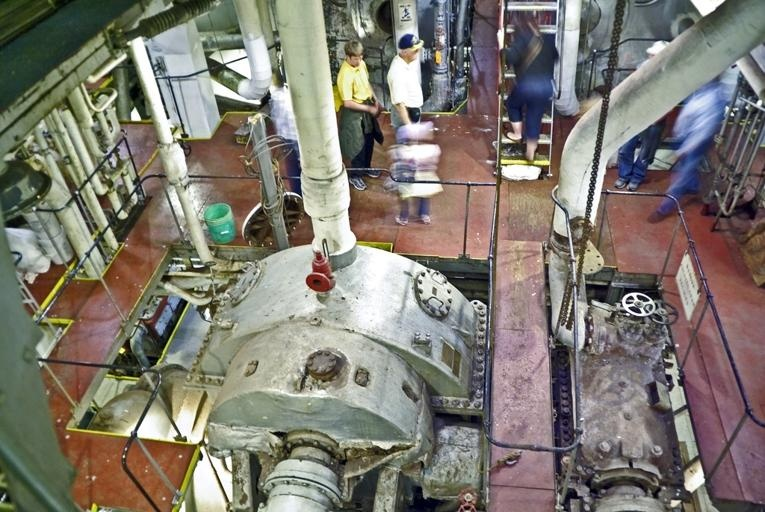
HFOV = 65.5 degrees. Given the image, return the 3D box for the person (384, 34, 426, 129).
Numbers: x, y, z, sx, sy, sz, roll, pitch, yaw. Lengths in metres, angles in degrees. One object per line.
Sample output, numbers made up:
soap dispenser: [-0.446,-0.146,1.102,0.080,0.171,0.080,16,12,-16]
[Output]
person: [0.377,-2.702,9.313,0.522,1.523,0.581,-4,36,1]

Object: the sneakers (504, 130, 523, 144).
sneakers: [2.446,-2.214,11.165,0.244,0.192,0.094,10,82,45]

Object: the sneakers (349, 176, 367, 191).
sneakers: [-0.415,-1.346,11.116,0.362,0.145,0.180,38,73,21]

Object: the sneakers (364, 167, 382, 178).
sneakers: [-0.094,-1.543,11.188,0.408,0.170,0.217,1,72,16]

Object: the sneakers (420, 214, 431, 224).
sneakers: [0.780,-0.645,10.475,0.214,0.094,0.093,2,64,19]

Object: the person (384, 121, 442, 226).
person: [0.661,-1.461,10.089,0.874,1.829,0.771,5,30,1]

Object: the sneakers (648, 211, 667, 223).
sneakers: [4.844,-0.689,10.512,0.376,0.153,0.166,-9,64,10]

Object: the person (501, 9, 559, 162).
person: [2.550,-2.862,10.413,0.806,2.611,0.824,3,37,11]
